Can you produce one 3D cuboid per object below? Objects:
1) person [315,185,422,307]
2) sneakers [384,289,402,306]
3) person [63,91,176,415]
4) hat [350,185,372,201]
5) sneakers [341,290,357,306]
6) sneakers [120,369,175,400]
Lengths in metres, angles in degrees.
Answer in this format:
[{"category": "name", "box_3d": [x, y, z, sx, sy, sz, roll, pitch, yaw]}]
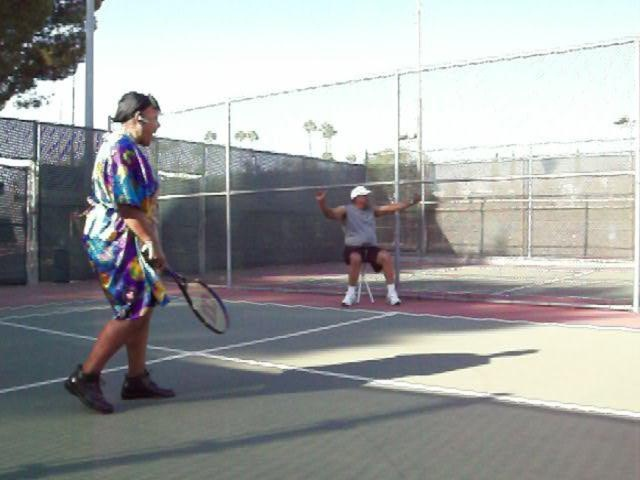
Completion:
[{"category": "person", "box_3d": [0.629, 0.071, 10.037, 1.186, 1.748, 1.021, -1, 4, -4]}, {"category": "sneakers", "box_3d": [1.089, 0.855, 9.896, 0.201, 0.198, 0.159, 0, 4, 7]}, {"category": "person", "box_3d": [-1.460, 0.069, 4.977, 0.711, 2.353, 0.481, -2, 4, -14]}, {"category": "hat", "box_3d": [0.581, -0.710, 10.076, 0.334, 0.178, 0.240, -6, 4, 23]}, {"category": "sneakers", "box_3d": [0.443, 0.836, 9.926, 0.213, 0.235, 0.437, 0, 4, 4]}, {"category": "sneakers", "box_3d": [-1.341, 1.131, 5.286, 0.490, 0.236, 0.175, 2, -2, -16]}]
